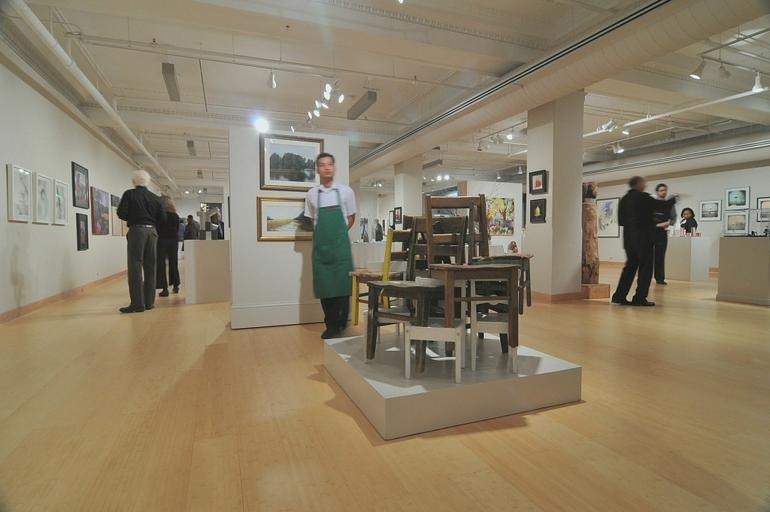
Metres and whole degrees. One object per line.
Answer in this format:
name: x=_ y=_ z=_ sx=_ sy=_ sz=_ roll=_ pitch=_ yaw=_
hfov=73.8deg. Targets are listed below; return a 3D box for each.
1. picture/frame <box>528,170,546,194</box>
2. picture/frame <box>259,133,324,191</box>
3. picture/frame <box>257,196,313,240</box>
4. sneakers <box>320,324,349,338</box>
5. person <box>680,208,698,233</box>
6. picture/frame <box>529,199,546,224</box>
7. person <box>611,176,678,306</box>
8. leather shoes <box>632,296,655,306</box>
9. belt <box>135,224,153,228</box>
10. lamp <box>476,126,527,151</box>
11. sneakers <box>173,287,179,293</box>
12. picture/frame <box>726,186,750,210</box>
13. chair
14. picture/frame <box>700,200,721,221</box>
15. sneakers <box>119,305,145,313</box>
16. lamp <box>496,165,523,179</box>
picture/frame: x=2.836 y=-1.393 z=9.598 sx=0.037 sy=0.471 sz=0.462 roll=3 pitch=-4 yaw=-19
picture/frame: x=-1.374 y=-1.337 z=7.335 sx=0.928 sy=0.784 sz=0.072 roll=0 pitch=-3 yaw=-22
picture/frame: x=-1.460 y=-0.552 z=7.317 sx=0.639 sy=0.476 sz=0.027 roll=1 pitch=-4 yaw=-19
sneakers: x=-0.637 y=0.987 z=6.703 sx=0.381 sy=0.150 sz=0.127 roll=5 pitch=-6 yaw=-36
person: x=8.117 y=-0.971 z=13.794 sx=0.292 sy=0.669 sz=0.809 roll=2 pitch=5 yaw=27
picture/frame: x=2.850 y=-0.845 z=9.596 sx=0.106 sy=0.540 sz=0.467 roll=3 pitch=-4 yaw=-21
person: x=4.167 y=-0.252 z=8.584 sx=0.616 sy=2.145 sz=0.335 roll=2 pitch=5 yaw=24
leather shoes: x=4.403 y=0.744 z=8.752 sx=0.432 sy=0.191 sz=0.149 roll=-1 pitch=1 yaw=-2
belt: x=-3.811 y=-0.494 z=8.182 sx=0.220 sy=0.049 sz=0.060 roll=-4 pitch=5 yaw=-39
lamp: x=3.370 y=-3.349 z=14.773 sx=0.698 sy=0.189 sz=0.783 roll=3 pitch=-9 yaw=-23
sneakers: x=-4.268 y=0.686 z=10.519 sx=0.146 sy=0.150 sz=0.107 roll=0 pitch=-7 yaw=-17
picture/frame: x=9.484 y=-1.581 z=13.830 sx=0.046 sy=0.707 sz=0.690 roll=3 pitch=-2 yaw=-17
chair: x=0.673 y=0.247 z=5.310 sx=1.609 sy=1.762 sz=1.039 roll=0 pitch=4 yaw=12
picture/frame: x=9.192 y=-1.318 z=14.523 sx=0.042 sy=0.642 sz=0.598 roll=3 pitch=-1 yaw=-21
sneakers: x=-4.051 y=0.847 z=8.309 sx=0.388 sy=0.169 sz=0.140 roll=6 pitch=-5 yaw=-21
lamp: x=4.798 y=-3.231 z=19.601 sx=0.350 sy=0.261 sz=1.681 roll=-5 pitch=1 yaw=-19
